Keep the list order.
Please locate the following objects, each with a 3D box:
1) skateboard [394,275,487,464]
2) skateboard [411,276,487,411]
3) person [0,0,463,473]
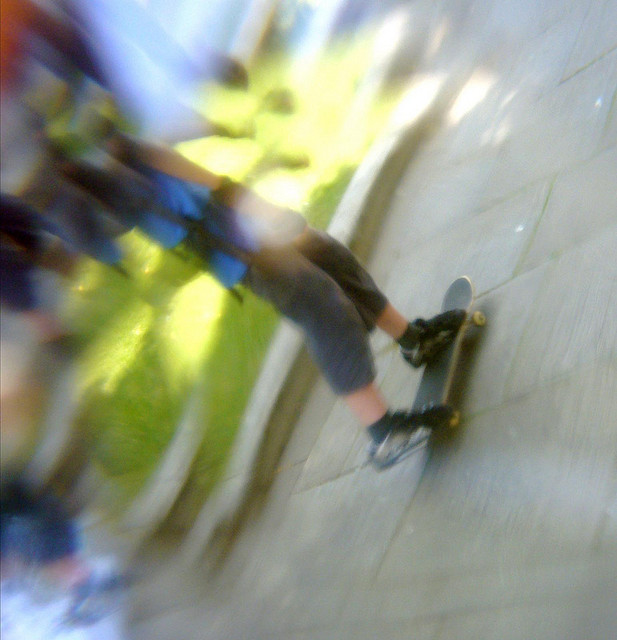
[{"bbox_3d":[0.603,0.136,2.576,0.235,0.145,0.982,-18,49,59],"label":"skateboard"},{"bbox_3d":[0.593,0.152,2.567,0.177,0.114,0.769,-14,53,52],"label":"skateboard"},{"bbox_3d":[-0.273,-0.226,2.350,0.774,2.256,0.639,-39,34,26],"label":"person"}]
